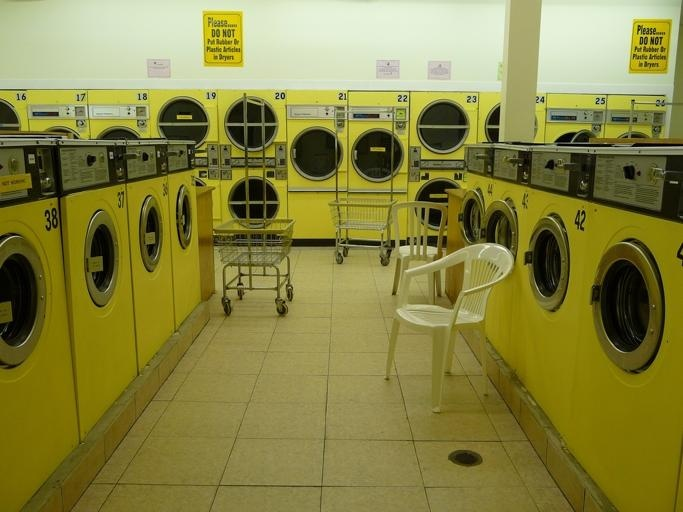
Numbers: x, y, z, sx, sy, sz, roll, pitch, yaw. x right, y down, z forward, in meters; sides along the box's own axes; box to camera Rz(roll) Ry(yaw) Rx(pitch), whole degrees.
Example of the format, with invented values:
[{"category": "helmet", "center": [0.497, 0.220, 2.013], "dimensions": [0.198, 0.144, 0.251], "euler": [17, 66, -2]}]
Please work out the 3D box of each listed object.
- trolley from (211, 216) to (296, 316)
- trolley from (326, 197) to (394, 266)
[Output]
[{"category": "trolley", "center": [-0.827, 0.036, 4.893], "dimensions": [0.739, 0.849, 1.155], "euler": [0, 7, 1]}, {"category": "trolley", "center": [0.276, -0.348, 6.520], "dimensions": [0.756, 0.818, 0.699], "euler": [2, 10, 17]}]
